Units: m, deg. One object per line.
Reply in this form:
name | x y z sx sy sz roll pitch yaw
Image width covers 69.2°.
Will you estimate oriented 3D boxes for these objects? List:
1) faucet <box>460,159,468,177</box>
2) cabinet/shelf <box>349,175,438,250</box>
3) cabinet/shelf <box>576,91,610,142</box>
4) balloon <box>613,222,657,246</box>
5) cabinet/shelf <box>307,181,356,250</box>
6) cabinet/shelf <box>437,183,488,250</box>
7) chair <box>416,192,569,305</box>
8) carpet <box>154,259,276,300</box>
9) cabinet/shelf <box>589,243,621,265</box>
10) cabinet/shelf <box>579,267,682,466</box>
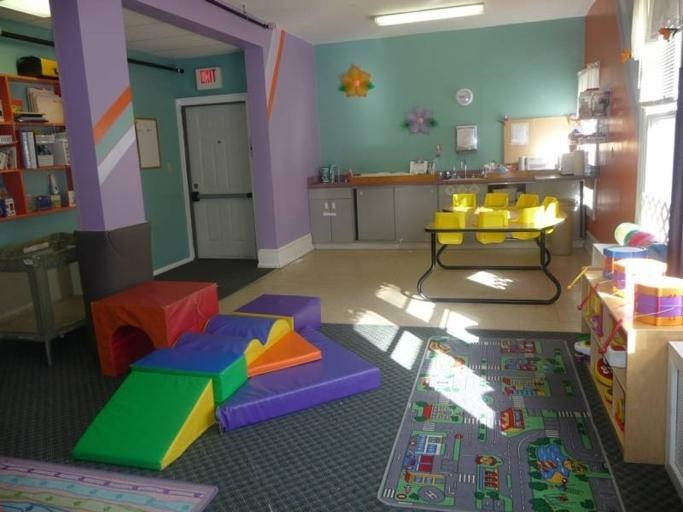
faucet | 1.918 -1.354 7.681 0.113 0.254 0.105 1 14 13
cabinet/shelf | 0.904 -0.458 7.881 1.501 1.064 0.829 1 3 13
cabinet/shelf | 3.156 -1.770 6.173 0.295 0.606 0.950 3 14 21
balloon | 2.269 -0.158 3.820 0.244 0.198 0.266 25 10 28
cabinet/shelf | -0.075 -0.709 8.066 0.900 1.234 0.818 0 7 5
cabinet/shelf | 1.719 -0.685 7.503 0.688 0.919 0.749 0 3 2
chair | 1.755 -0.176 5.704 1.473 0.954 1.811 2 14 17
carpet | -1.650 0.209 6.809 1.947 0.069 1.325 10 18 42
cabinet/shelf | 2.106 -0.016 3.918 0.169 0.234 0.247 1 6 18
cabinet/shelf | 1.661 0.648 2.792 0.257 0.570 0.984 0 12 9
